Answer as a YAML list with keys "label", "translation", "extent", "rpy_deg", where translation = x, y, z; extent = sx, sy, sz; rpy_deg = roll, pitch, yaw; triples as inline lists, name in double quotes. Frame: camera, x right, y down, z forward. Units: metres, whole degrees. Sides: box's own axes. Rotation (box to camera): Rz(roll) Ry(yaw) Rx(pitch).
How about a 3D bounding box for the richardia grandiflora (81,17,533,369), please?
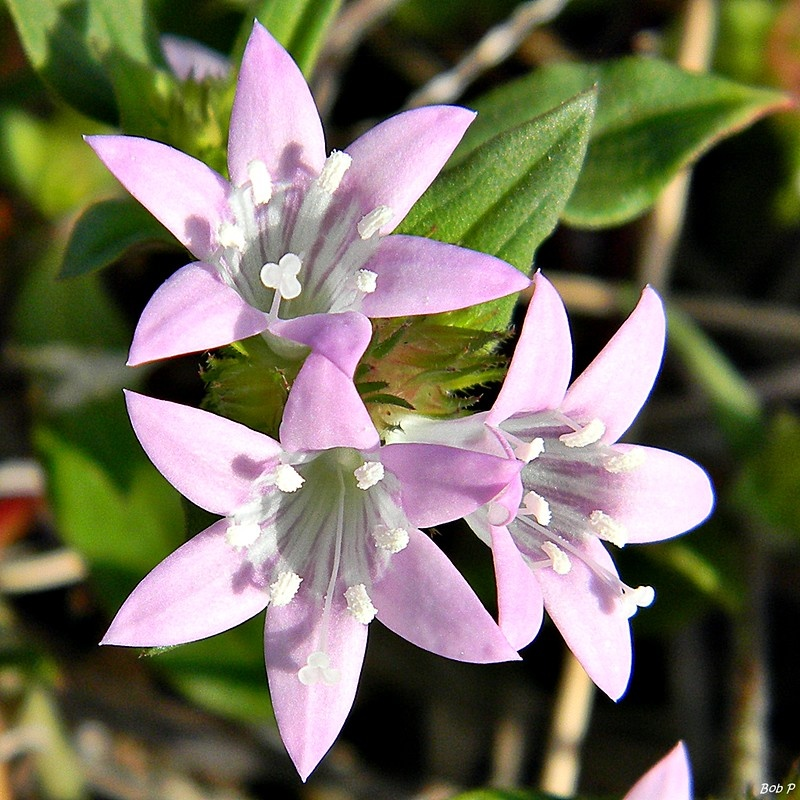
- label: "richardia grandiflora"
  translation: [-0.139, -0.270, 1.797]
  extent: [0.577, 0.479, 0.422]
  rpy_deg: [-10, 32, -7]

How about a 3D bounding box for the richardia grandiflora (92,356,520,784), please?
- label: "richardia grandiflora"
  translation: [-0.105, 0.204, 1.938]
  extent: [0.709, 0.598, 0.271]
  rpy_deg: [33, 16, 11]
